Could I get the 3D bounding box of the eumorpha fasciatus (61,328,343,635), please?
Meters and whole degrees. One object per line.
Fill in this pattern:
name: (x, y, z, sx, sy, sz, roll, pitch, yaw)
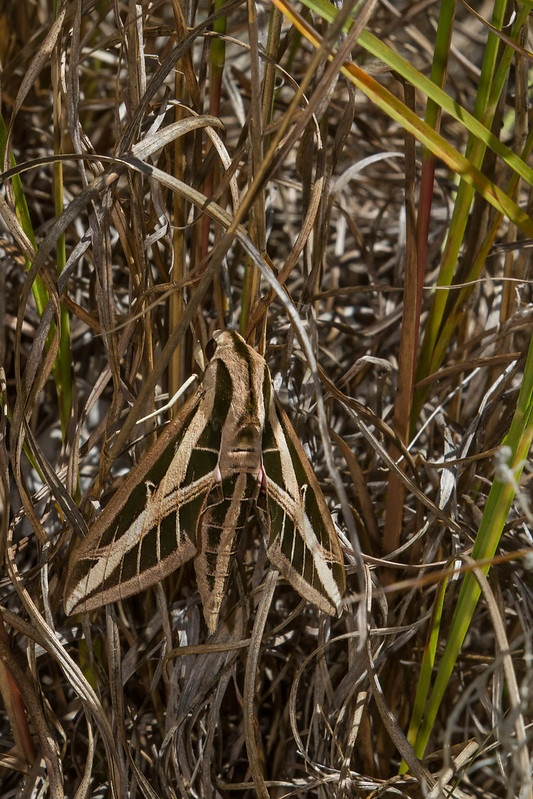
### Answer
eumorpha fasciatus: (-0.040, 0.059, 0.667, 0.198, 0.150, 0.172, 6, 54, -9)
